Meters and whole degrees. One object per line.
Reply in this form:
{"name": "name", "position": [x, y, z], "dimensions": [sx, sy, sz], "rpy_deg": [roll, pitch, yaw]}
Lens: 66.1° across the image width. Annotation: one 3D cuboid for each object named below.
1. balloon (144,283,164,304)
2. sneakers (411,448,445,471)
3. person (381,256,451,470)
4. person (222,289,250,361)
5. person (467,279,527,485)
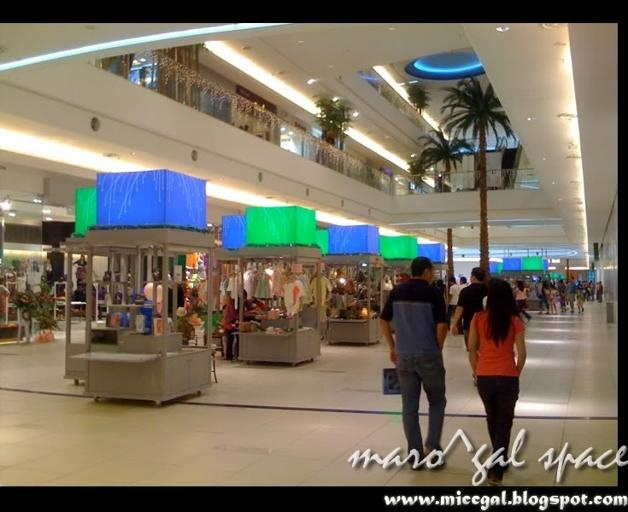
{"name": "balloon", "position": [-2.371, 0.550, 7.135], "dimensions": [0.309, 0.267, 0.360], "rpy_deg": [1, 5, -14]}
{"name": "sneakers", "position": [0.983, 1.757, 4.203], "dimensions": [0.323, 0.170, 0.287], "rpy_deg": [-1, -4, 14]}
{"name": "person", "position": [0.890, 0.922, 4.296], "dimensions": [0.567, 1.840, 0.352], "rpy_deg": [-1, -3, 10]}
{"name": "person", "position": [-1.819, 1.576, 10.618], "dimensions": [0.260, 1.424, 0.779], "rpy_deg": [2, -4, -38]}
{"name": "person", "position": [1.466, 0.878, 3.896], "dimensions": [0.450, 1.394, 0.359], "rpy_deg": [-2, -3, 27]}
